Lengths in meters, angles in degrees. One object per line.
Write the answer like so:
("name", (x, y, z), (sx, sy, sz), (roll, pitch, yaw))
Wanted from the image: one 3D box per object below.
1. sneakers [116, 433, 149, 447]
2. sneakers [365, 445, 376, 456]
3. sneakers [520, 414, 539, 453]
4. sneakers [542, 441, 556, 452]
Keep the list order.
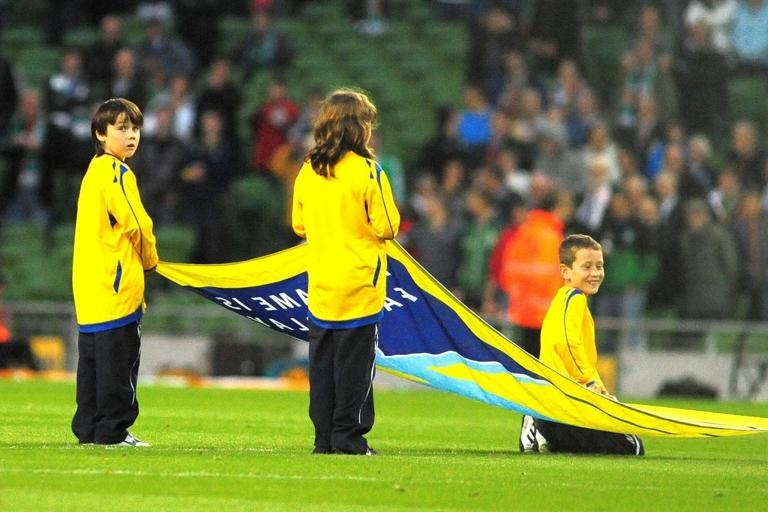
("sneakers", (-2.775, 2.048, 18.304), (0.373, 0.147, 0.134), (2, 0, -10))
("sneakers", (-0.138, 2.147, 18.125), (0.083, 0.115, 0.111), (-2, 4, 8))
("sneakers", (1.664, 2.028, 18.747), (0.234, 0.380, 0.097), (2, -8, 25))
("sneakers", (1.861, 2.160, 18.663), (0.116, 0.082, 0.103), (-1, 1, -40))
